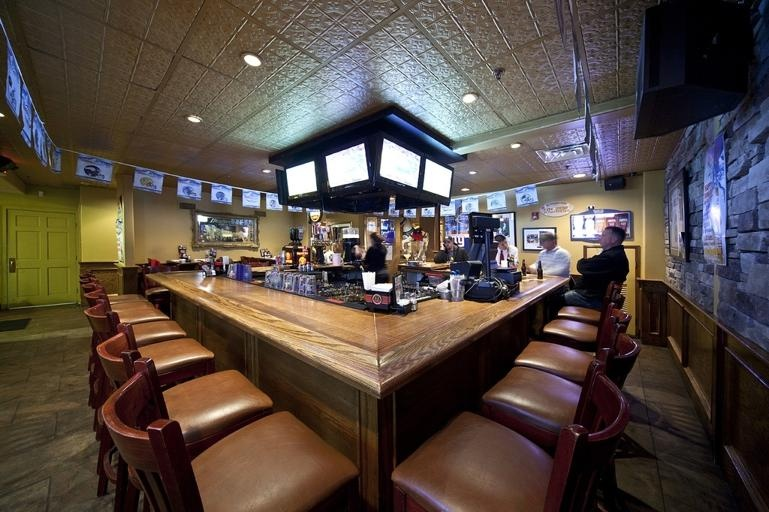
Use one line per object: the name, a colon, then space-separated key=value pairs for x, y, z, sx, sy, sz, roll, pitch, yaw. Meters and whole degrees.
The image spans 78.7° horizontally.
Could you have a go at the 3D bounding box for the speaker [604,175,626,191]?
speaker: x=3.994 y=-1.247 z=8.161 sx=0.376 sy=0.347 sz=0.222 roll=-1 pitch=-4 yaw=38

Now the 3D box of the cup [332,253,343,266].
cup: x=-0.818 y=0.055 z=8.282 sx=0.141 sy=0.213 sz=0.419 roll=-1 pitch=2 yaw=11

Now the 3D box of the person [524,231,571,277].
person: x=2.550 y=-0.009 z=7.397 sx=0.653 sy=1.080 sz=0.654 roll=4 pitch=-2 yaw=10

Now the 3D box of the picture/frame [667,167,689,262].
picture/frame: x=3.844 y=-0.531 z=6.123 sx=0.212 sy=1.136 sz=1.239 roll=0 pitch=3 yaw=32

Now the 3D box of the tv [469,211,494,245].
tv: x=1.148 y=-0.319 z=5.555 sx=0.408 sy=0.407 sz=0.143 roll=-1 pitch=8 yaw=-18

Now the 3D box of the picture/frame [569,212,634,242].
picture/frame: x=3.725 y=-0.503 z=7.955 sx=0.621 sy=0.405 sz=0.029 roll=-1 pitch=-8 yaw=38

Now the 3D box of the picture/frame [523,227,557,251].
picture/frame: x=2.774 y=-0.303 z=8.317 sx=0.039 sy=0.542 sz=0.437 roll=-2 pitch=8 yaw=-39
